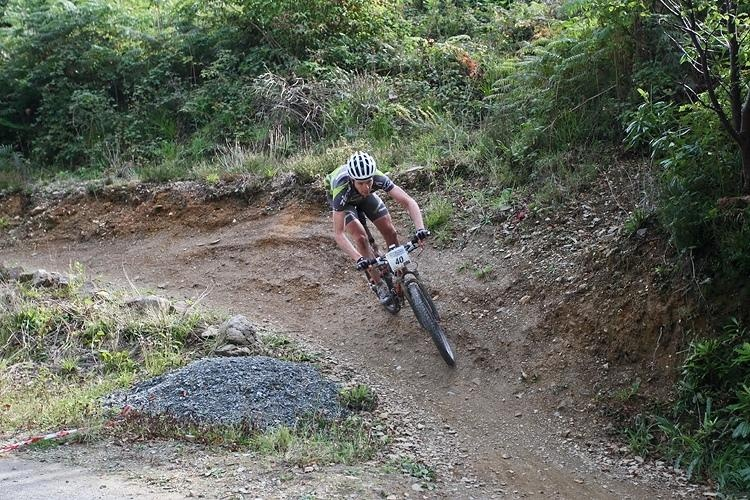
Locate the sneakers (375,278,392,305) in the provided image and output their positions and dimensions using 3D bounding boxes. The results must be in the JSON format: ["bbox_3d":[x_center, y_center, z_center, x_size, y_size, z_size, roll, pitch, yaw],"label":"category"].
[{"bbox_3d":[0.172,0.750,13.386,0.225,0.423,0.183,-16,11,15],"label":"sneakers"}]

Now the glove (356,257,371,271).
[{"bbox_3d":[-0.182,0.223,12.204,0.213,0.206,0.245,-6,9,6],"label":"glove"}]

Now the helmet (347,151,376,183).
[{"bbox_3d":[-0.253,-1.412,12.497,0.475,0.457,0.348,-5,9,7],"label":"helmet"}]

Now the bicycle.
[{"bbox_3d":[0.817,0.557,12.622,1.269,1.611,2.636,-30,15,-6],"label":"bicycle"}]
